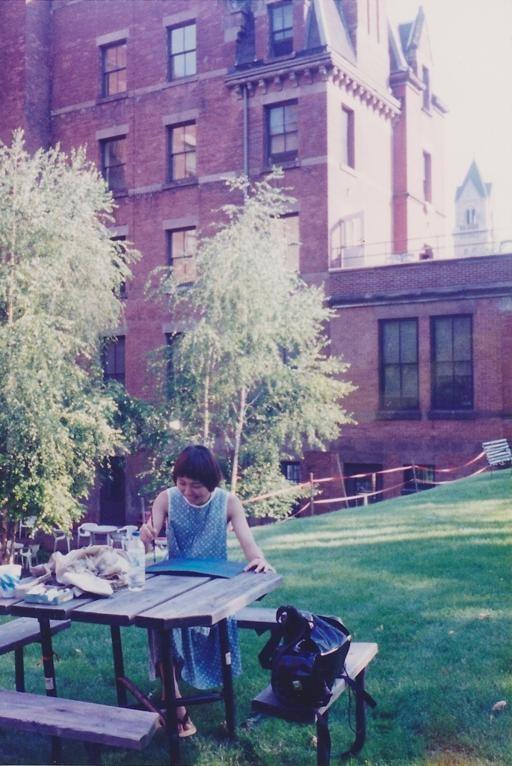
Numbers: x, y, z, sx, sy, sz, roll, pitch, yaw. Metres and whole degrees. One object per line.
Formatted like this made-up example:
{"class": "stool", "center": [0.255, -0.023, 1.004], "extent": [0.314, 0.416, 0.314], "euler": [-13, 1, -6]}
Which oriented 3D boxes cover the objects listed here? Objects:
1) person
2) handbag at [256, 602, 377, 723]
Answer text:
{"class": "person", "center": [-0.389, 1.485, 8.242], "extent": [0.805, 2.042, 1.035], "euler": [1, 1, 13]}
{"class": "handbag", "center": [0.346, 1.859, 7.615], "extent": [0.683, 0.712, 0.511], "euler": [0, 1, 40]}
